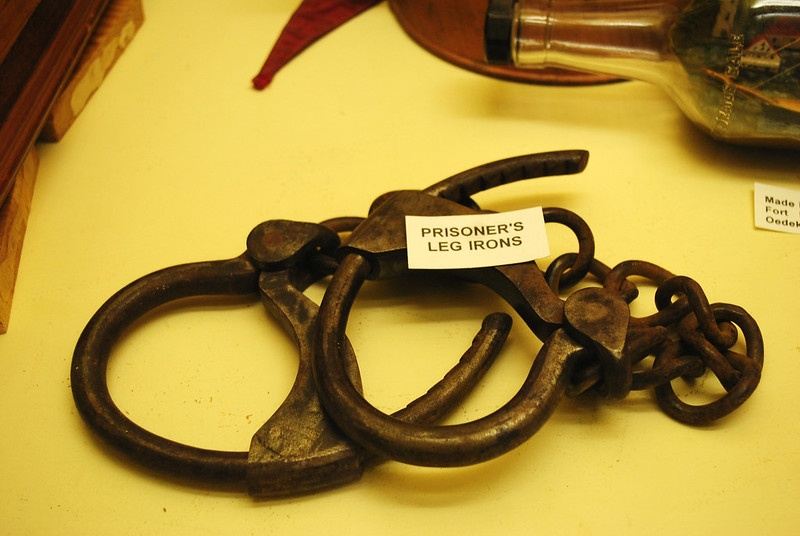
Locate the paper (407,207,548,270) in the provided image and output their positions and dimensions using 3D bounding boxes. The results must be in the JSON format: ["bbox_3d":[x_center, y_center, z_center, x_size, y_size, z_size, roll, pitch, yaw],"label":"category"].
[{"bbox_3d":[0.147,-0.053,1.444,0.220,0.032,0.107,0,73,4],"label":"paper"}]
